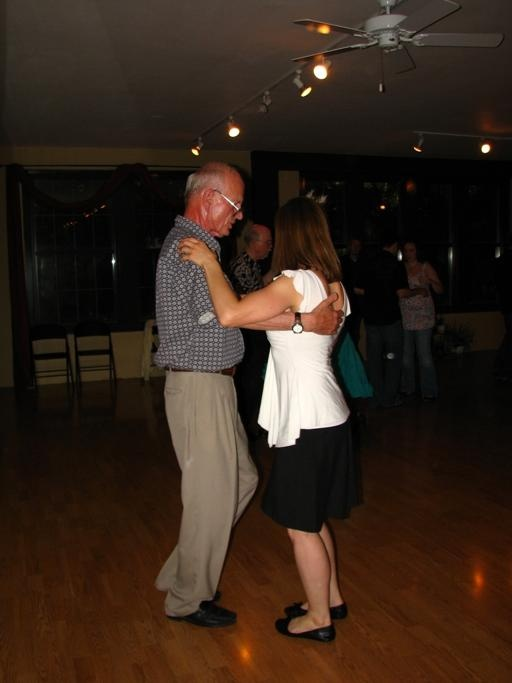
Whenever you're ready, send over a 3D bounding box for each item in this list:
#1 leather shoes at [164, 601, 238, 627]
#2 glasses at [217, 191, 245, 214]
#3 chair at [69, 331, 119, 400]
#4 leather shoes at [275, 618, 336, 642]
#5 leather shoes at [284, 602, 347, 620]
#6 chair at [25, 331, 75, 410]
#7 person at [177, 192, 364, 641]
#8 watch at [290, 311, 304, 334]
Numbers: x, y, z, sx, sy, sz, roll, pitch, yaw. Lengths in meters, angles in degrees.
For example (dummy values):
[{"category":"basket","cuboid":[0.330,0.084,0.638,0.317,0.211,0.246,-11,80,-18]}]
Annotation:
[{"category":"leather shoes","cuboid":[-0.192,0.884,1.780,0.211,0.089,0.089,-1,-1,1]},{"category":"glasses","cuboid":[-0.073,-0.419,1.623,0.055,0.016,0.054,46,14,24]},{"category":"chair","cuboid":[-2.058,0.163,6.819,0.538,0.786,0.754,-3,4,-19]},{"category":"leather shoes","cuboid":[0.153,0.891,1.670,0.188,0.047,0.074,5,7,16]},{"category":"leather shoes","cuboid":[0.198,0.890,1.762,0.198,0.051,0.074,1,-1,5]},{"category":"chair","cuboid":[-2.543,0.196,6.608,0.494,0.789,0.942,-3,4,-20]},{"category":"person","cuboid":[0.019,0.230,1.635,0.618,1.268,0.496,-1,1,-30]},{"category":"watch","cuboid":[0.111,-0.050,1.438,0.031,0.059,0.032,-2,4,-9]}]
